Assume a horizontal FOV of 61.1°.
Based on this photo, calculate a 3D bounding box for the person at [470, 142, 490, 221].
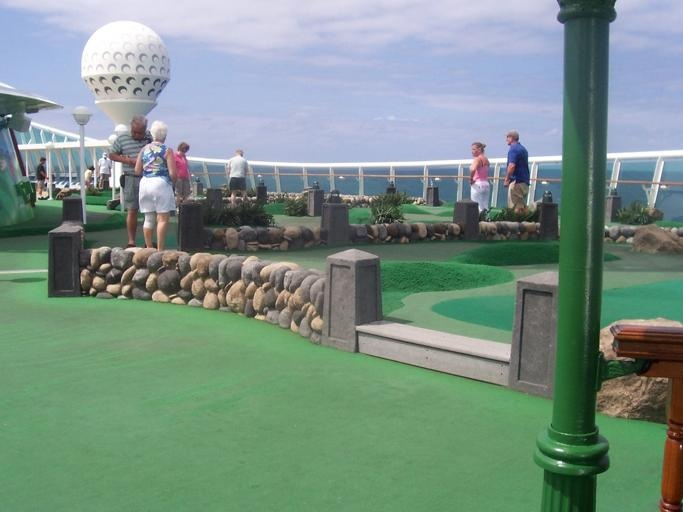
[{"bbox_3d":[3.472,-1.921,14.500,0.458,1.827,1.159,2,10,12],"label":"person"}]

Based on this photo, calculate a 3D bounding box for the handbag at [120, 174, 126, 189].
[{"bbox_3d":[-3.650,-1.274,9.625,0.080,0.297,0.205,2,6,-25],"label":"handbag"}]

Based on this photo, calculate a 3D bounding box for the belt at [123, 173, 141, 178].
[{"bbox_3d":[-3.358,-1.315,9.274,0.143,0.038,0.159,3,2,29],"label":"belt"}]
